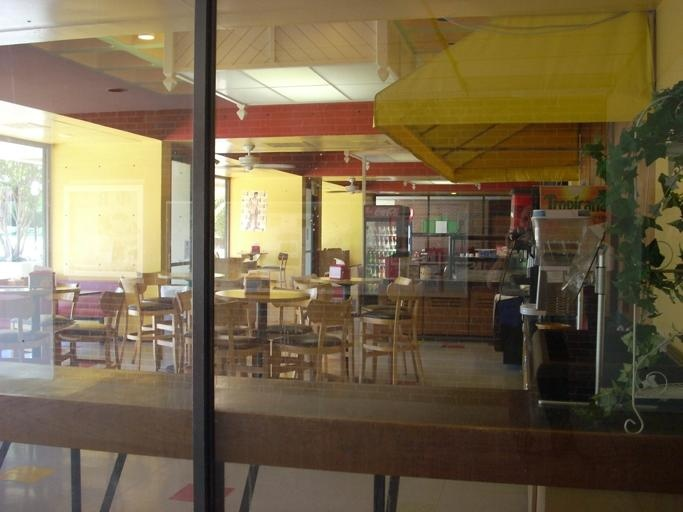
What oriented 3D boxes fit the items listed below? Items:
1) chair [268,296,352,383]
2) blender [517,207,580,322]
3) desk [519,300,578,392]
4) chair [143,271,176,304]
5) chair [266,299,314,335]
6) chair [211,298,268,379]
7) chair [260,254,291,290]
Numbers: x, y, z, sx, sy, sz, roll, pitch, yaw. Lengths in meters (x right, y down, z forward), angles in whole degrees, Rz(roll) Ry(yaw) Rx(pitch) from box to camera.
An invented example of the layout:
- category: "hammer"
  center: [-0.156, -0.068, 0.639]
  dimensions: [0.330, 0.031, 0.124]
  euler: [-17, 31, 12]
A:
- category: "chair"
  center: [-0.066, 0.346, 2.814]
  dimensions: [0.345, 0.469, 0.357]
  euler: [0, -2, 37]
- category: "blender"
  center: [0.855, 0.016, 2.568]
  dimensions: [0.304, 0.401, 0.275]
  euler: [3, 6, 41]
- category: "desk"
  center: [0.761, 0.320, 2.332]
  dimensions: [0.295, 0.358, 0.300]
  euler: [0, -2, 9]
- category: "chair"
  center: [-0.814, 0.153, 2.849]
  dimensions: [0.166, 0.181, 0.126]
  euler: [1, -8, -12]
- category: "chair"
  center: [-0.235, 0.276, 2.804]
  dimensions: [0.155, 0.196, 0.123]
  euler: [2, -1, 4]
- category: "chair"
  center: [-0.438, 0.370, 2.915]
  dimensions: [0.321, 0.425, 0.287]
  euler: [0, 1, -18]
- category: "chair"
  center: [-0.268, 0.059, 2.571]
  dimensions: [0.148, 0.203, 0.127]
  euler: [3, 0, -7]
